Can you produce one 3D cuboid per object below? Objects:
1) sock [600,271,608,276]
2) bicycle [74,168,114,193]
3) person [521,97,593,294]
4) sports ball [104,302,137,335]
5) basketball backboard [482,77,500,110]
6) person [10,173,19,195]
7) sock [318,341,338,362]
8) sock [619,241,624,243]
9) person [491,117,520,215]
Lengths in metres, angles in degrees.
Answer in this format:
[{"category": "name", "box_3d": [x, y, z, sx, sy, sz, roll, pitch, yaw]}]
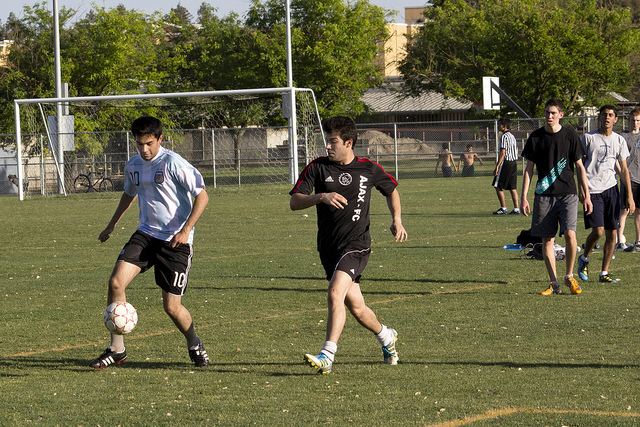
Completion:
[{"category": "sock", "box_3d": [4.285, 0.908, 13.259, 0.095, 0.080, 0.054, -4, -5, 15]}, {"category": "bicycle", "box_3d": [-9.128, -1.290, 35.354, 0.863, 1.110, 2.056, 3, 1, 34]}, {"category": "person", "box_3d": [3.359, -0.242, 12.548, 0.932, 2.758, 0.722, 1, 13, 11]}, {"category": "sports ball", "box_3d": [-2.307, 1.185, 10.235, 0.356, 0.308, 0.341, -10, -15, -3]}, {"category": "basketball backboard", "box_3d": [6.701, -4.703, 34.537, 0.072, 1.510, 1.640, -1, -1, 32]}, {"category": "person", "box_3d": [-12.654, -1.168, 36.189, 0.479, 1.043, 0.256, 1, -42, -22]}, {"category": "sock", "box_3d": [0.086, 1.548, 9.829, 0.164, 0.253, 0.196, -1, 12, 4]}, {"category": "sock", "box_3d": [5.311, 0.509, 15.493, 0.064, 0.026, 0.020, -2, 12, -5]}, {"category": "person", "box_3d": [4.517, -1.095, 21.295, 0.645, 2.329, 1.265, 1, 12, 11]}]
